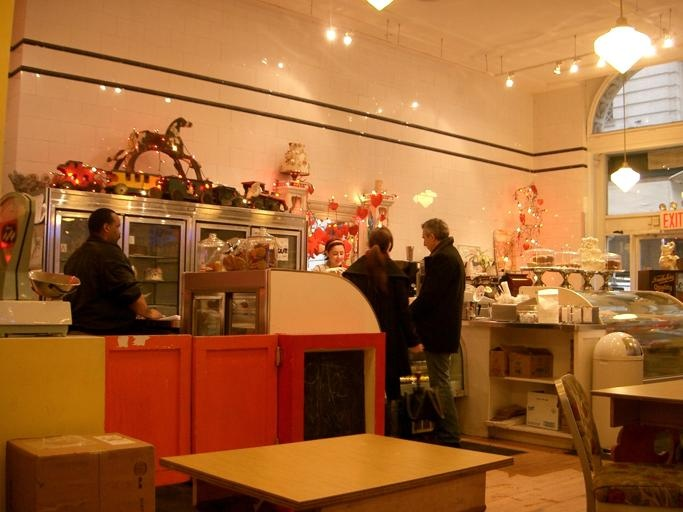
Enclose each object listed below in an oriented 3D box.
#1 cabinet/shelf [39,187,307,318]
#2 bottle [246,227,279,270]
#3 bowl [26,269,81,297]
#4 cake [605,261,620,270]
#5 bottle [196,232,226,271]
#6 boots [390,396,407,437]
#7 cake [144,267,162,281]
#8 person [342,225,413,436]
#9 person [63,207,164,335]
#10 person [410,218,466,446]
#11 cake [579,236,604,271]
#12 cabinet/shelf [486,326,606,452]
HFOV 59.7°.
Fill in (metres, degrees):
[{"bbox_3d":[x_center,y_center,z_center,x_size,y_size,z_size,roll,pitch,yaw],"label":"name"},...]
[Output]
[{"bbox_3d":[-1.531,-0.055,4.984,1.383,0.819,0.402,5,-10,-36],"label":"cabinet/shelf"},{"bbox_3d":[-0.456,-0.033,3.610,0.192,0.282,0.194,-1,-6,0],"label":"bottle"},{"bbox_3d":[-1.296,0.161,2.695,0.147,0.096,0.151,19,10,-3],"label":"bowl"},{"bbox_3d":[3.302,0.125,7.262,0.190,0.143,0.104,1,-4,-31],"label":"cake"},{"bbox_3d":[-0.868,-0.062,3.974,0.168,0.261,0.173,-8,-25,-4],"label":"bottle"},{"bbox_3d":[0.496,1.557,5.700,0.223,0.336,0.212,-2,-11,16],"label":"boots"},{"bbox_3d":[-2.064,0.208,6.566,0.142,0.101,0.147,-4,-5,40],"label":"cake"},{"bbox_3d":[0.352,0.696,5.115,0.520,1.862,0.868,1,-2,31],"label":"person"},{"bbox_3d":[-1.514,0.091,3.917,0.613,0.823,0.461,0,-2,38],"label":"person"},{"bbox_3d":[0.865,0.672,5.433,0.465,2.030,0.327,1,-2,11],"label":"person"},{"bbox_3d":[3.039,-0.014,7.242,0.304,0.399,0.432,1,-2,22],"label":"cake"},{"bbox_3d":[1.856,1.211,5.404,0.646,1.135,0.992,9,-11,-37],"label":"cabinet/shelf"}]
